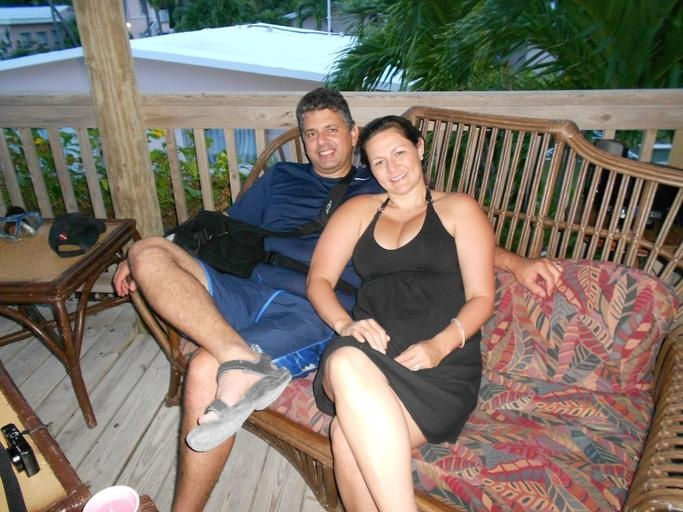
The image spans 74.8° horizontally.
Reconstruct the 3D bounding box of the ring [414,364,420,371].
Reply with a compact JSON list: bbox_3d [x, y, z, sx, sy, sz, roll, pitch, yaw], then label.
[{"bbox_3d":[0.261,0.387,1.552,0.020,0.015,0.021,-4,-2,0],"label":"ring"}]

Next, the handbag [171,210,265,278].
[{"bbox_3d":[-0.568,-0.069,2.082,0.385,0.134,0.278,22,57,6],"label":"handbag"}]

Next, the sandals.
[{"bbox_3d":[-0.360,0.463,1.482,0.162,0.194,0.375,21,34,35],"label":"sandals"}]

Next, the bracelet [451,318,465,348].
[{"bbox_3d":[0.430,0.287,1.638,0.030,0.090,0.073,-3,6,-15],"label":"bracelet"}]

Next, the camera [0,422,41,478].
[{"bbox_3d":[-0.934,0.569,1.302,0.084,0.132,0.158,-29,16,-33],"label":"camera"}]

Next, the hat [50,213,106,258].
[{"bbox_3d":[-1.336,-0.075,2.302,0.197,0.102,0.256,18,48,3],"label":"hat"}]
